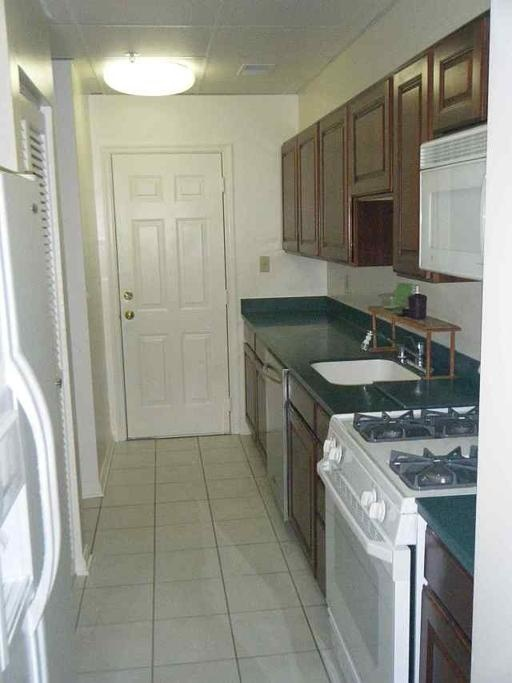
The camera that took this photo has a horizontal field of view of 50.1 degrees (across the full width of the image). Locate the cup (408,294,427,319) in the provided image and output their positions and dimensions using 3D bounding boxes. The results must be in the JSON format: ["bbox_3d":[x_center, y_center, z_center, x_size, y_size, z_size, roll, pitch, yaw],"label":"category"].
[{"bbox_3d":[0.673,-0.149,2.294,0.072,0.105,0.113,1,8,16],"label":"cup"}]
